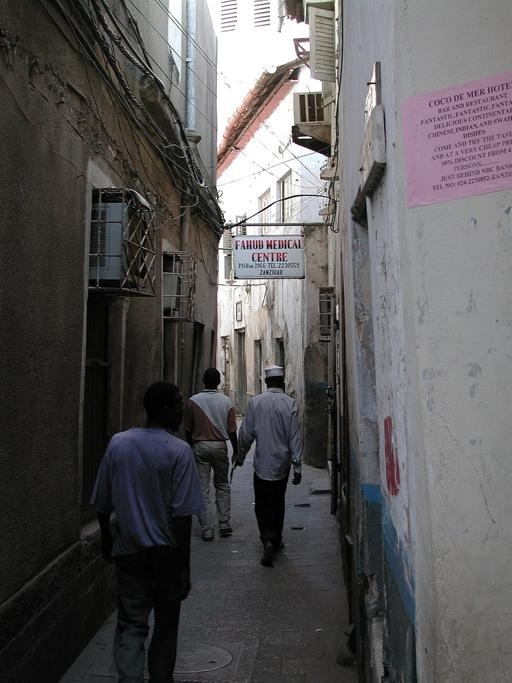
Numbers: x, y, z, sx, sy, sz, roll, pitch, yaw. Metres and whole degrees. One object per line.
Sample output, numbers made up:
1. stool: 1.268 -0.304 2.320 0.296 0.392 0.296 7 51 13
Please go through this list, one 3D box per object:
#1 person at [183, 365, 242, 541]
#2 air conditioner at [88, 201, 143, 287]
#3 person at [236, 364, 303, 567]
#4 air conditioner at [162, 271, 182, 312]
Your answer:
1. person: -0.442 1.119 6.327 0.378 1.998 0.426 -4 14 -20
2. air conditioner: -0.920 -0.423 4.118 0.249 0.855 0.641 0 -4 1
3. person: 0.140 1.098 5.688 0.564 1.751 0.769 2 -3 -30
4. air conditioner: -0.966 -0.553 6.947 0.195 0.486 0.431 1 -3 -7
